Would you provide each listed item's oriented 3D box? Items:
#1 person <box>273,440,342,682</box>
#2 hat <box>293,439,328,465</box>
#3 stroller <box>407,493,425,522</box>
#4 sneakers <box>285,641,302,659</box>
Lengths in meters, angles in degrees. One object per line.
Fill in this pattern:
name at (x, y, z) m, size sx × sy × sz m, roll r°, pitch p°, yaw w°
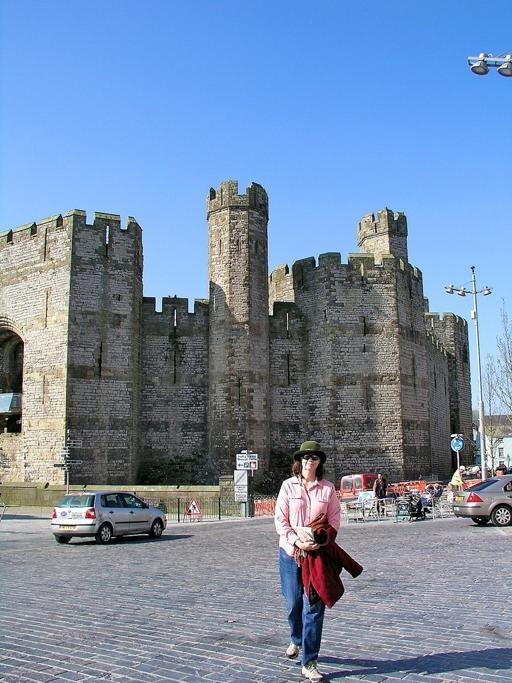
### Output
person at (0.390, 1.551, 5.902) m, size 0.475 × 1.630 × 0.807 m, roll -2°, pitch -10°, yaw 2°
hat at (0.415, 0.805, 6.163) m, size 0.205 × 0.124 × 0.249 m, roll 3°, pitch -24°, yaw 1°
stroller at (4.301, 4.464, 21.636) m, size 0.402 × 0.691 × 1.264 m, roll -4°, pitch -11°, yaw 10°
sneakers at (0.287, 2.314, 6.013) m, size 0.063 × 0.074 × 0.160 m, roll 3°, pitch -1°, yaw -4°
